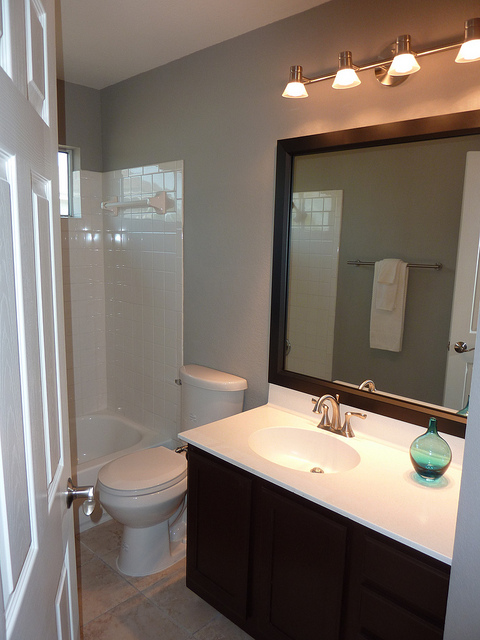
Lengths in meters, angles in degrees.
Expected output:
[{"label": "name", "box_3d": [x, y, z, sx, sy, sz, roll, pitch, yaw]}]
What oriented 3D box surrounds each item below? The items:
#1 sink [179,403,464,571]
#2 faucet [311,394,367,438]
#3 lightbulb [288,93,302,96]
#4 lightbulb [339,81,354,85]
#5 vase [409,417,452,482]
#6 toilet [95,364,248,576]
[{"label": "sink", "box_3d": [0.298, 0.504, 1.624, 0.915, 0.159, 0.490, 13, 13, 41]}, {"label": "faucet", "box_3d": [0.355, 0.292, 1.810, 0.112, 0.179, 0.217, 0, 3, -39]}, {"label": "lightbulb", "box_3d": [0.192, -0.781, 1.670, 0.039, 0.008, 0.008, 4, 9, 1]}, {"label": "lightbulb", "box_3d": [0.340, -0.756, 1.536, 0.039, 0.010, 0.010, 6, 9, 11]}, {"label": "vase", "box_3d": [0.580, 0.402, 1.459, 0.110, 0.214, 0.114, -1, -17, 43]}, {"label": "toilet", "box_3d": [-0.323, 0.746, 2.203, 0.311, 0.964, 0.668, 9, 12, 43]}]
